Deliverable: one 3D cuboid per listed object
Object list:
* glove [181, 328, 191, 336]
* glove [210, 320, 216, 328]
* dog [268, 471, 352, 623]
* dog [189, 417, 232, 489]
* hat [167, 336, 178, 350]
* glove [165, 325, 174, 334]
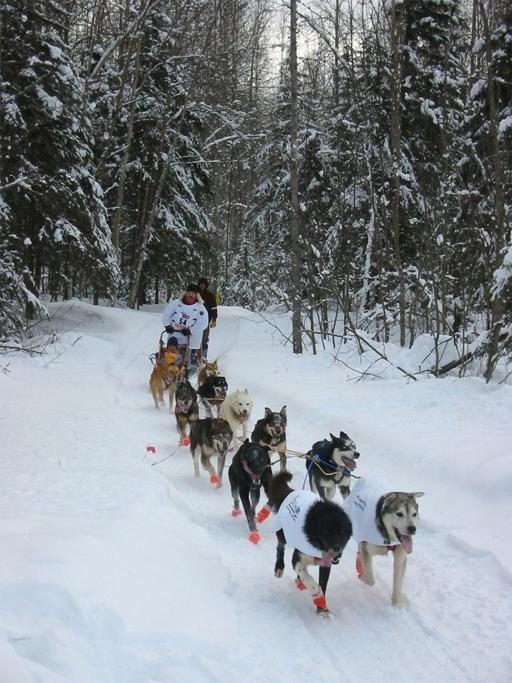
[{"bbox_3d":[-1.373,-0.179,13.060,0.156,0.153,0.043,3,4,-23],"label":"glove"},{"bbox_3d":[-1.104,-0.425,16.989,0.147,0.155,0.149,0,-1,-40],"label":"glove"},{"bbox_3d":[0.449,1.735,5.538,0.388,0.874,0.850,1,7,-29],"label":"dog"},{"bbox_3d":[-0.575,1.384,8.531,0.449,0.842,0.860,3,6,-15],"label":"dog"},{"bbox_3d":[-1.555,0.040,12.357,0.158,0.192,0.212,4,-31,-6],"label":"hat"},{"bbox_3d":[-1.690,-0.229,13.002,0.132,0.137,0.136,-6,11,-23],"label":"glove"}]
